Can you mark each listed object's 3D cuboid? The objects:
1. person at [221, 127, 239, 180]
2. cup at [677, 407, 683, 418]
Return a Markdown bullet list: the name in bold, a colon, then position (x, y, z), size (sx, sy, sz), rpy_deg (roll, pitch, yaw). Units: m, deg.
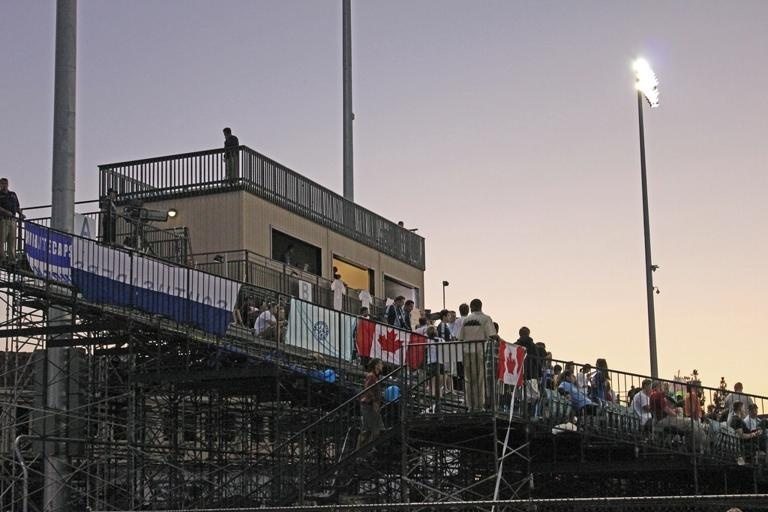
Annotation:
- **person**: position (-4.732, -3.156, 50.249), size (0.549, 1.843, 0.967), rpy_deg (8, -10, -9)
- **cup**: position (7.692, 4.068, 41.661), size (0.221, 0.240, 0.107), rpy_deg (-4, -6, 11)
